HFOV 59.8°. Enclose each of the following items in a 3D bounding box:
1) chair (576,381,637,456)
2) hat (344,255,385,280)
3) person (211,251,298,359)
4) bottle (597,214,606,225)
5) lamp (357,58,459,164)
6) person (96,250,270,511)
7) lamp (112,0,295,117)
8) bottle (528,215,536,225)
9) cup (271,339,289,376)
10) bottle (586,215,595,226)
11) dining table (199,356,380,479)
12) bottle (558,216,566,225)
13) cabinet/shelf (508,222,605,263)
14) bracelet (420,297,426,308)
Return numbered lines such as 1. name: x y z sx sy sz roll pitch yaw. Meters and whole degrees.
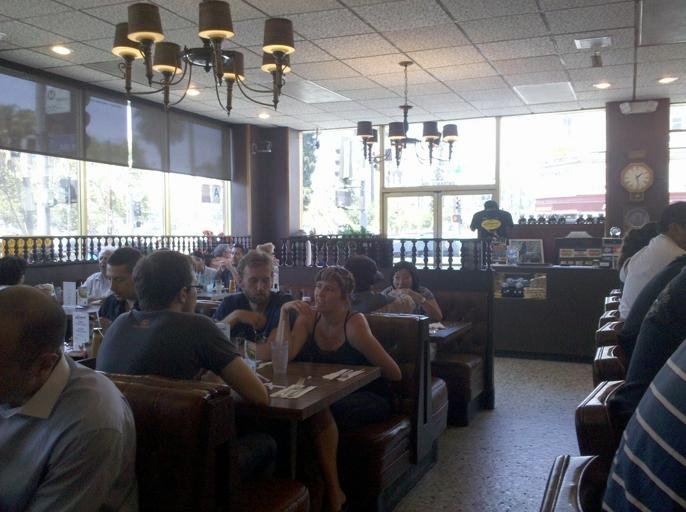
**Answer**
1. chair: 0.841 0.525 1.910 0.119 0.161 0.407 1 5 29
2. hat: 0.125 0.078 4.107 0.160 0.199 0.202 -20 18 -25
3. person: -0.530 0.270 3.505 0.622 0.794 0.530 -1 -6 -19
4. bottle: 3.833 -0.557 8.943 0.119 0.142 0.228 0 3 21
5. lamp: 0.814 -1.878 7.617 1.250 1.197 1.310 3 9 35
6. person: -0.724 0.500 2.617 0.705 0.967 0.602 3 0 9
7. lamp: -1.296 -1.828 5.502 1.386 0.555 1.324 1 -3 -32
8. bottle: 2.838 -0.545 9.019 0.126 0.122 0.029 3 -15 -13
9. cup: -0.334 0.499 2.970 0.112 0.176 0.106 1 -1 0
10. bottle: 3.702 -0.553 8.995 0.145 0.067 0.145 -6 18 2
11. dining table: -0.242 0.600 2.785 0.655 0.627 0.666 0 -1 23
12. bottle: 3.256 -0.530 8.943 0.093 0.126 0.041 1 -19 16
13. cabinet/shelf: 3.190 -0.196 8.931 1.324 0.579 0.240 0 3 11
14. bracelet: 0.624 0.356 4.694 0.014 0.053 0.053 -1 16 -10
